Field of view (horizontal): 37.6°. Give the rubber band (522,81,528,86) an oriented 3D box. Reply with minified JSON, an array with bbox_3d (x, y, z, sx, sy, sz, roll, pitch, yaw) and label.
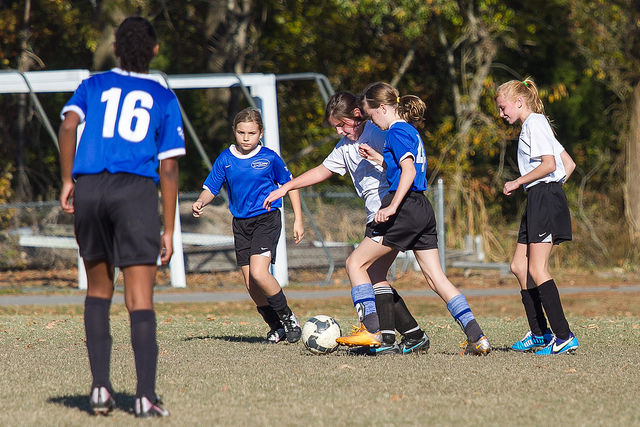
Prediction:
[{"bbox_3d":[2.748,-1.740,12.560,0.028,0.032,0.109,-6,28,-18],"label":"rubber band"}]
